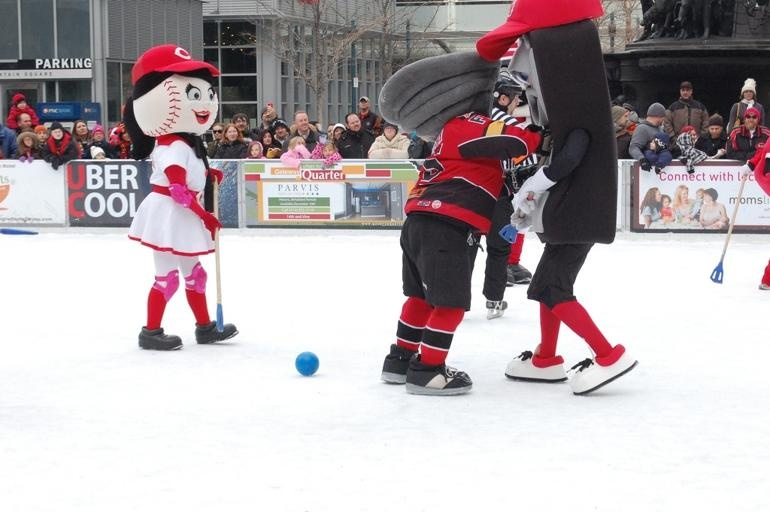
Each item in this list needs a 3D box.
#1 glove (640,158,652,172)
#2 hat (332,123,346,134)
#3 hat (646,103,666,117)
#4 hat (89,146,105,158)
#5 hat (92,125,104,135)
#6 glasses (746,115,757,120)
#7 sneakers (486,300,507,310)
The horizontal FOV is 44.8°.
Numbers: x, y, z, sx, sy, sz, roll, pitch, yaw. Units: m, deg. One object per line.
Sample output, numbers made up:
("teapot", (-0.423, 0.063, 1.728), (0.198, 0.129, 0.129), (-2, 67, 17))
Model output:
("glove", (3.549, -1.288, 12.901), (0.164, 0.180, 0.078), (2, 13, 12))
("hat", (-0.793, -2.157, 15.536), (0.200, 0.197, 0.262), (-3, -18, -6))
("hat", (3.808, -2.108, 13.272), (0.278, 0.193, 0.255), (3, 3, 6))
("hat", (-4.570, -1.675, 14.842), (0.171, 0.177, 0.226), (-9, 11, -29))
("hat", (-4.711, -2.089, 15.379), (0.178, 0.161, 0.255), (1, 1, -22))
("glasses", (4.850, -1.893, 12.543), (0.113, 0.055, 0.058), (4, 14, 20))
("sneakers", (1.037, 0.451, 8.839), (0.150, 0.050, 0.092), (-1, 2, -2))
